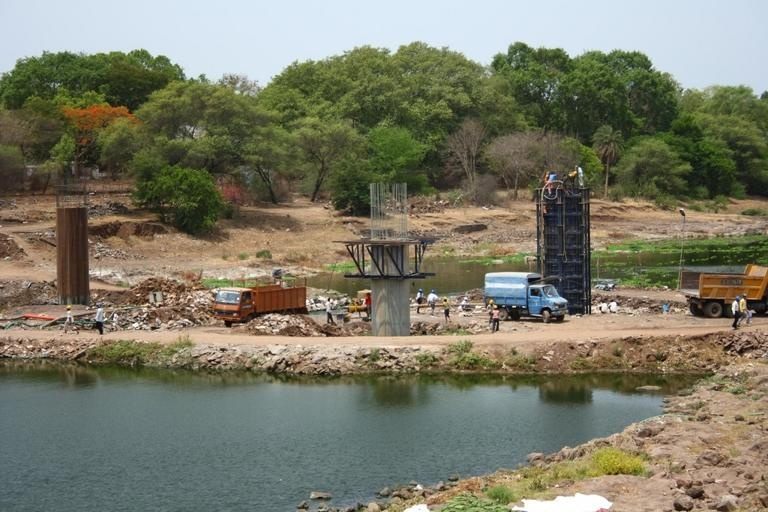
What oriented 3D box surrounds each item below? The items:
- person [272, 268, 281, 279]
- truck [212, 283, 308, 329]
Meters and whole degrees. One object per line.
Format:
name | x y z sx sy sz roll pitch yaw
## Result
person | -10.221 1.725 101.251 0.973 0.864 1.566 3 6 -7
truck | -10.279 4.278 91.424 6.987 3.011 3.754 -1 0 -40
